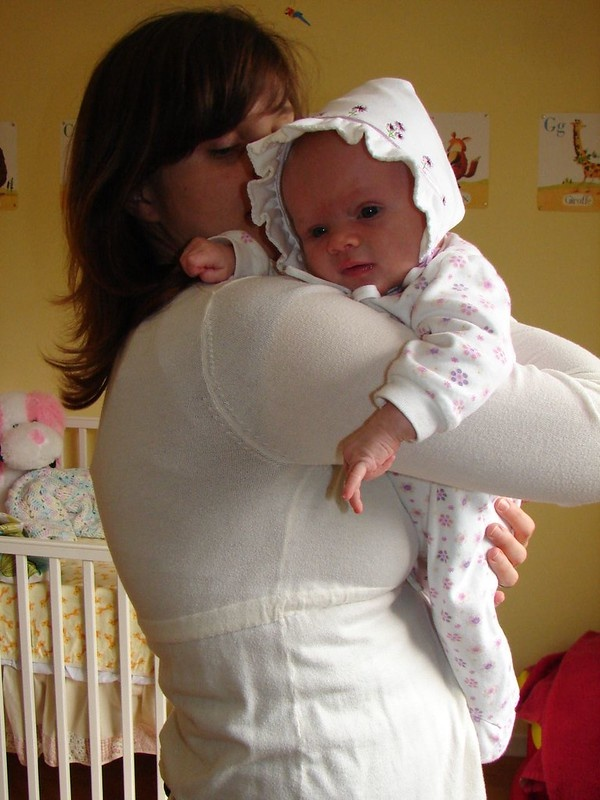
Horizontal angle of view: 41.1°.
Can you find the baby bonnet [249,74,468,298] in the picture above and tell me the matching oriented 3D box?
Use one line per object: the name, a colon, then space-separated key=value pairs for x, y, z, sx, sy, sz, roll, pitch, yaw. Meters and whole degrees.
baby bonnet: x=0.066 y=-0.231 z=0.968 sx=0.262 sy=0.266 sz=0.223 roll=8 pitch=43 yaw=16
